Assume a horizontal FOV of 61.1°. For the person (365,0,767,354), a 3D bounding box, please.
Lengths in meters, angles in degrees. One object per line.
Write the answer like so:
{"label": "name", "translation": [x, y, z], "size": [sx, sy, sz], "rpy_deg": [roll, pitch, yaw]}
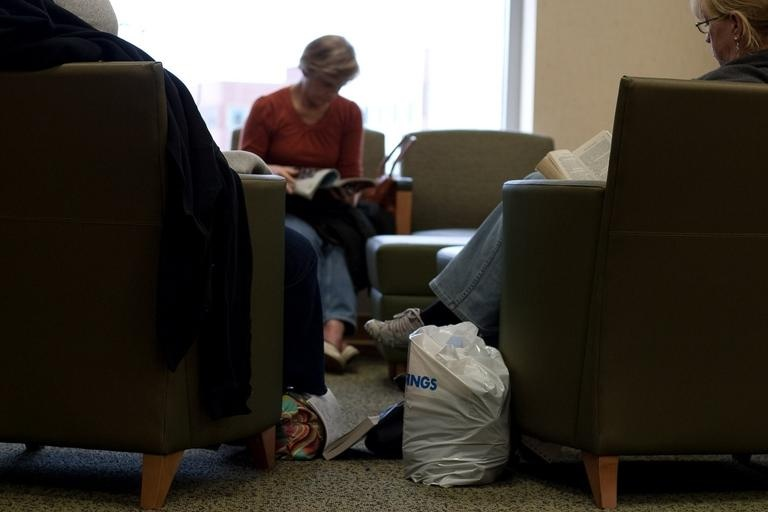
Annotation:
{"label": "person", "translation": [0.666, -0.193, 2.171], "size": [1.118, 1.291, 0.840], "rpy_deg": [1, 1, -24]}

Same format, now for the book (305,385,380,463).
{"label": "book", "translation": [-0.120, 0.487, 1.877], "size": [0.170, 0.050, 0.175], "rpy_deg": [-19, 11, -5]}

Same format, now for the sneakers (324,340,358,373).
{"label": "sneakers", "translation": [-0.192, 0.424, 2.738], "size": [0.069, 0.095, 0.214], "rpy_deg": [-4, -22, 23]}

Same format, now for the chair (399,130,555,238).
{"label": "chair", "translation": [0.468, -0.313, 3.524], "size": [0.518, 0.791, 0.624], "rpy_deg": [1, -1, -3]}

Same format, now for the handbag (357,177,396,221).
{"label": "handbag", "translation": [-0.034, -0.284, 3.108], "size": [0.178, 0.224, 0.155], "rpy_deg": [1, 3, 1]}

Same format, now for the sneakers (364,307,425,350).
{"label": "sneakers", "translation": [0.058, 0.253, 2.334], "size": [0.257, 0.139, 0.098], "rpy_deg": [8, 0, 8]}

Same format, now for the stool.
{"label": "stool", "translation": [0.135, 0.195, 2.762], "size": [0.481, 0.515, 0.505], "rpy_deg": [-1, 0, -6]}
